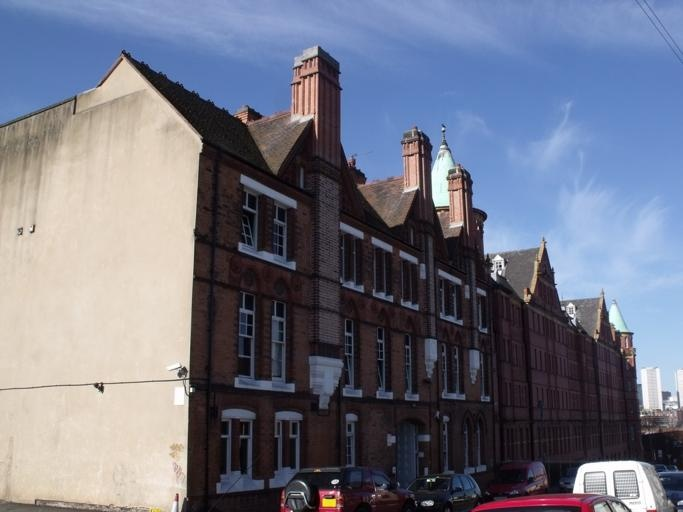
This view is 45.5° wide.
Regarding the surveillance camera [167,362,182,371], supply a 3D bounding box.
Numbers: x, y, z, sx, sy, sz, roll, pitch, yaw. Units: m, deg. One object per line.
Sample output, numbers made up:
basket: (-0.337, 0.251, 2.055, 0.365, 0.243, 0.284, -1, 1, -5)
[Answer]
surveillance camera: (-6.694, 4.382, 32.510, 0.813, 0.330, 0.181, -18, -24, 32)
